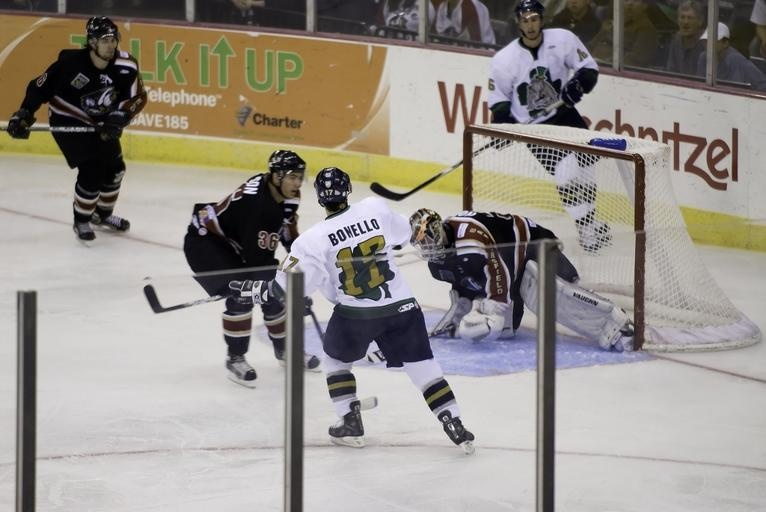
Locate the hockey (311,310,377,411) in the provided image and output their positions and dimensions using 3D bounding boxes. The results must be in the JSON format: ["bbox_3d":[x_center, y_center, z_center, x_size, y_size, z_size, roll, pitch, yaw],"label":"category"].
[{"bbox_3d":[-0.168,0.331,3.383,0.133,0.089,0.702,-6,19,-15],"label":"hockey"}]

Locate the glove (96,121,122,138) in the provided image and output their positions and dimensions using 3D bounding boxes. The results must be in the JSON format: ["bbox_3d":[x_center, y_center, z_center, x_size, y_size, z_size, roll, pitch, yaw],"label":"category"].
[{"bbox_3d":[-1.654,-0.748,5.887,0.120,0.104,0.047,4,36,-1],"label":"glove"}]

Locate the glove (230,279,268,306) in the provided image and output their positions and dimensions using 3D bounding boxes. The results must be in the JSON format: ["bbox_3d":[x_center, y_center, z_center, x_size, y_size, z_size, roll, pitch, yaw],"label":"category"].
[{"bbox_3d":[-0.441,0.121,3.171,0.116,0.042,0.075,5,18,3],"label":"glove"}]

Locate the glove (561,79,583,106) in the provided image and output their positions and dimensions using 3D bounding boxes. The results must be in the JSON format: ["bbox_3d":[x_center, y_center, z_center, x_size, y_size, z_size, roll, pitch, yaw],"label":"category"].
[{"bbox_3d":[1.115,-0.955,5.730,0.126,0.145,0.057,7,15,-37],"label":"glove"}]

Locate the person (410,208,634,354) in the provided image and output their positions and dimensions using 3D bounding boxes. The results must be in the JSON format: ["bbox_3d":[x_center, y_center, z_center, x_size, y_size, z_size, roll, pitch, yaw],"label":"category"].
[{"bbox_3d":[0.570,0.124,3.789,0.962,0.418,0.545,9,5,15],"label":"person"}]

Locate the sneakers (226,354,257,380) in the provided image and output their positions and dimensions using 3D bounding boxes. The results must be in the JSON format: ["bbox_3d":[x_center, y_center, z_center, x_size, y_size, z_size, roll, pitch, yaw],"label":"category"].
[{"bbox_3d":[-0.452,0.360,3.072,0.124,0.106,0.050,6,49,-1],"label":"sneakers"}]

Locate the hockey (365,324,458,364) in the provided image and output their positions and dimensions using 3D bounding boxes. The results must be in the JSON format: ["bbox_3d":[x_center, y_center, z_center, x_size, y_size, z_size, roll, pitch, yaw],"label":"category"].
[{"bbox_3d":[0.100,0.322,3.474,0.342,0.045,0.056,-13,7,15],"label":"hockey"}]

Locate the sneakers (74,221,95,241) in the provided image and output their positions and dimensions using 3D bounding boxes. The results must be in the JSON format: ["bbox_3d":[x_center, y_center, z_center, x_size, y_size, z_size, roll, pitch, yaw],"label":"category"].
[{"bbox_3d":[-1.908,-0.154,6.160,0.072,0.076,0.197,-18,23,-22],"label":"sneakers"}]

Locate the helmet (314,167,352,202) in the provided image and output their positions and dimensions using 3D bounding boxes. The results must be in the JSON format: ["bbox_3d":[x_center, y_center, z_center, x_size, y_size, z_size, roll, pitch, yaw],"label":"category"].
[{"bbox_3d":[-0.203,-0.281,3.896,0.129,0.137,0.154,-1,13,4],"label":"helmet"}]

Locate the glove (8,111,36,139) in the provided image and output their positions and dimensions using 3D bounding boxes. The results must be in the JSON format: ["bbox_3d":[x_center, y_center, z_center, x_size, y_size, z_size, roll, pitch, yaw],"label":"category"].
[{"bbox_3d":[-2.189,-0.786,5.967,0.185,0.168,0.084,1,-21,37],"label":"glove"}]

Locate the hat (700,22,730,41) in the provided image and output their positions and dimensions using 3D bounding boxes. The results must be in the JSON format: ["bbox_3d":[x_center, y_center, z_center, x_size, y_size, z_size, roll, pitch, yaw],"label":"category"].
[{"bbox_3d":[2.178,-1.457,6.349,0.147,0.069,0.087,-11,4,-13],"label":"hat"}]

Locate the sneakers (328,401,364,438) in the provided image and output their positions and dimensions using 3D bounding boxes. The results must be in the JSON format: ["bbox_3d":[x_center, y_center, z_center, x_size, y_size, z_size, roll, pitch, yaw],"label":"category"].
[{"bbox_3d":[-0.112,0.531,3.086,0.115,0.107,0.050,-9,18,-39],"label":"sneakers"}]

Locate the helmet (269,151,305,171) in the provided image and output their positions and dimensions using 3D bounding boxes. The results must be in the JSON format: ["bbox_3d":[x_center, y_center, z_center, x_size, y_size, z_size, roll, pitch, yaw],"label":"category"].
[{"bbox_3d":[-0.431,-0.404,4.273,0.130,0.101,0.104,-12,14,5],"label":"helmet"}]

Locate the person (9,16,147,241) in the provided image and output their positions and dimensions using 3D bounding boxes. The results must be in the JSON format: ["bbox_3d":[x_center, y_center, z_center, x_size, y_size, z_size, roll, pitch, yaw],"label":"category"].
[{"bbox_3d":[-1.896,-0.780,6.064,0.732,1.375,0.418,4,14,7],"label":"person"}]

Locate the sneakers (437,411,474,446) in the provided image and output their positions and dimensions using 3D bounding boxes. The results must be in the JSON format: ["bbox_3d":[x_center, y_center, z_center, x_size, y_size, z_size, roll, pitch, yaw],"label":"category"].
[{"bbox_3d":[0.240,0.554,3.146,0.074,0.121,0.037,-38,-13,9],"label":"sneakers"}]
